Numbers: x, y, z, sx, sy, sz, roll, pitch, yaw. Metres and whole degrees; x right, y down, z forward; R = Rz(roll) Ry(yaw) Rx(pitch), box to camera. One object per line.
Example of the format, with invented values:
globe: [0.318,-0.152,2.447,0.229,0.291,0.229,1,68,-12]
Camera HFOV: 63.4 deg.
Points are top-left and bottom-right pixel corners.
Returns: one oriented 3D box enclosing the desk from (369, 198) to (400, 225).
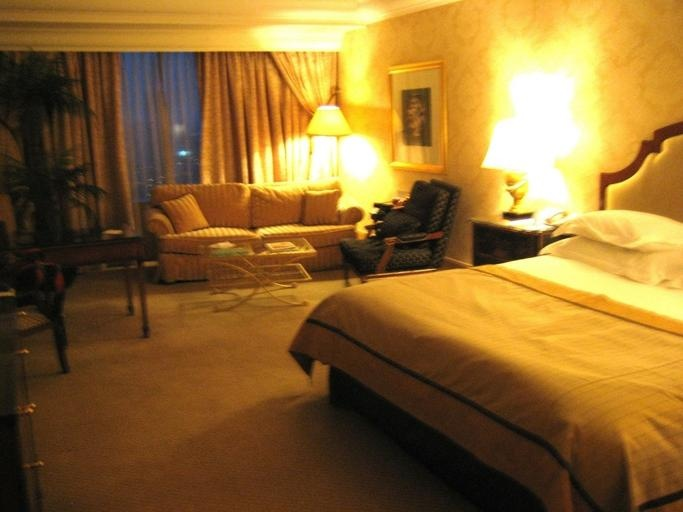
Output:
desk: [0.457,-0.501,6.052,0.353,0.250,0.320,-3,12,-8]

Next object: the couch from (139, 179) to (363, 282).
couch: [-1.019,-0.349,6.459,2.518,0.839,0.738,-4,29,-22]

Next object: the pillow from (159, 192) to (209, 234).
pillow: [-1.680,-0.507,6.251,0.171,0.470,0.581,-13,-1,40]

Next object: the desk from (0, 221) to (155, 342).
desk: [-2.068,0.266,4.644,1.606,0.956,0.881,-4,15,-24]

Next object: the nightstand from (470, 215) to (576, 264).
nightstand: [1.553,-0.159,4.722,0.528,0.490,0.565,-5,10,-22]

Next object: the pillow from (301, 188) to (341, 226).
pillow: [-0.227,-0.582,6.580,0.609,0.471,0.212,-3,-14,21]

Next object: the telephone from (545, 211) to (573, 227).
telephone: [1.830,-0.316,4.645,0.242,0.035,0.139,-17,26,-26]

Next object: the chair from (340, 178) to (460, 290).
chair: [0.514,-0.191,5.503,1.205,0.928,0.888,-17,26,-22]
